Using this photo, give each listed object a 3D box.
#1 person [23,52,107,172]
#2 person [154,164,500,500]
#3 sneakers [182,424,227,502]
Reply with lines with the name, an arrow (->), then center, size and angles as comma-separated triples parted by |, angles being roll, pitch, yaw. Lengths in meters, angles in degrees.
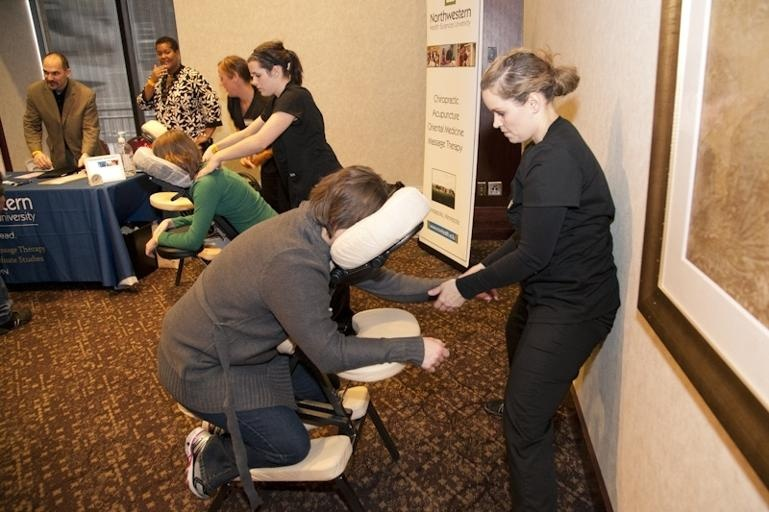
person -> -2.993, -1.291, 4.526 | 0.699, 1.009, 0.421 | 0, 23, 1
person -> -0.354, 0.319, 2.022 | 1.099, 1.326, 0.649 | -10, 25, -21
sneakers -> -0.743, 0.835, 2.133 | 0.131, 0.359, 0.160 | 13, -17, -41
